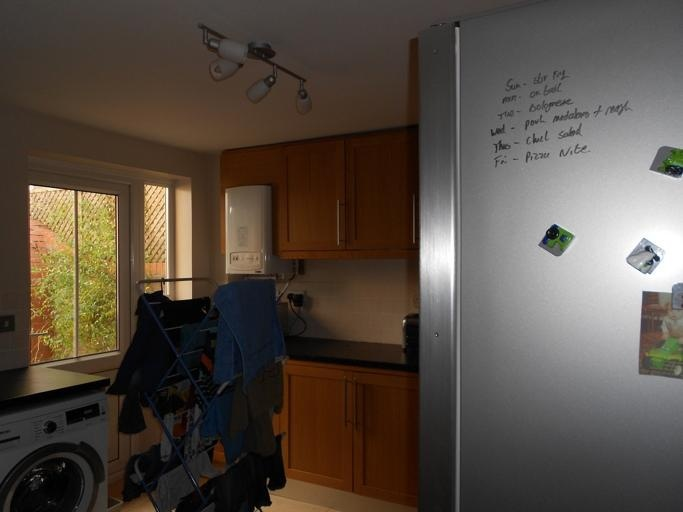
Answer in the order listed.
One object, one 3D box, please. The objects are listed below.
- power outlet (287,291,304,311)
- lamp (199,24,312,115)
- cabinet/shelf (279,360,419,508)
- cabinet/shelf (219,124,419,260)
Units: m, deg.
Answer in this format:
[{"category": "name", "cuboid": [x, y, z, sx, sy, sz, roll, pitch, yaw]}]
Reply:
[{"category": "power outlet", "cuboid": [-0.342, 0.358, 4.103, 0.132, 0.141, 0.117, -7, -13, 31]}, {"category": "lamp", "cuboid": [-0.372, -0.807, 2.306, 0.527, 0.212, 0.154, 16, 0, -32]}, {"category": "cabinet/shelf", "cuboid": [0.078, 1.111, 3.236, 0.876, 0.697, 0.358, -2, -8, 20]}, {"category": "cabinet/shelf", "cuboid": [-0.178, -0.403, 3.839, 1.494, 0.847, 0.350, 0, 4, 23]}]
